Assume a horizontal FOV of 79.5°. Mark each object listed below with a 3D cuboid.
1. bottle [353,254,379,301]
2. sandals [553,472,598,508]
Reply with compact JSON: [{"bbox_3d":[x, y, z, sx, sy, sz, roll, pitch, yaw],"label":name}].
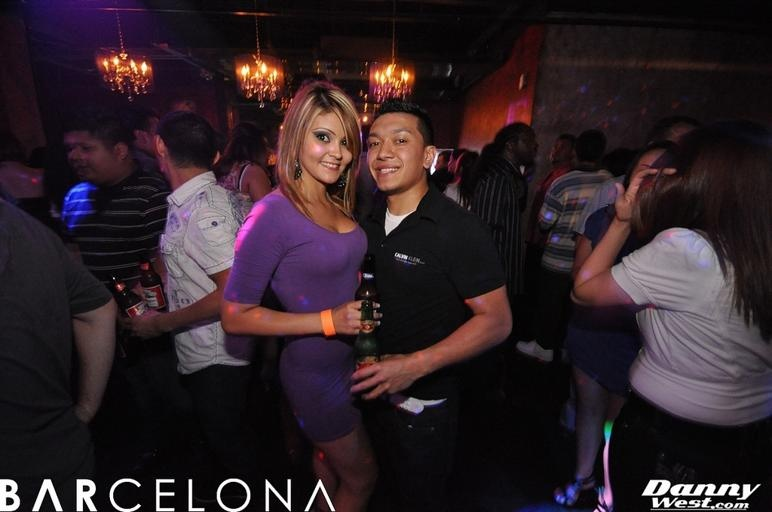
[{"bbox_3d":[-0.127,0.134,2.893,0.141,0.321,0.291,1,18,-2],"label":"bottle"},{"bbox_3d":[1.461,1.798,3.643,0.355,0.205,0.193,0,5,8],"label":"sandals"}]
